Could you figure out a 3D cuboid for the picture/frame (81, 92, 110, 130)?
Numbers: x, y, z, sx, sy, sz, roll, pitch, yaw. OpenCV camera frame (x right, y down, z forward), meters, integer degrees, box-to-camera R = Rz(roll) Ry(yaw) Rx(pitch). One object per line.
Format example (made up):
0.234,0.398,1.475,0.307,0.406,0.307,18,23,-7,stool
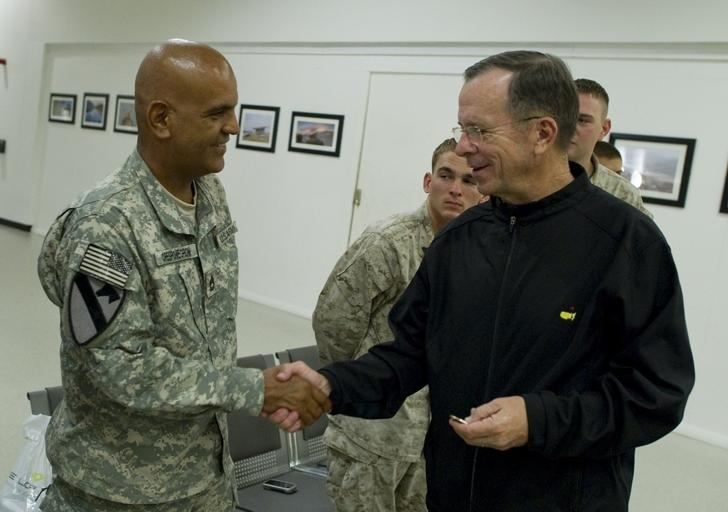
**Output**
-4.061,-2.201,8.871,0.529,0.578,0.049,15,7,28,picture/frame

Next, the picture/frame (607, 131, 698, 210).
2.173,-0.628,4.297,0.757,0.668,0.051,9,7,24,picture/frame

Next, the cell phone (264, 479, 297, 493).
-0.455,1.238,3.149,0.134,0.028,0.070,8,9,20,cell phone
